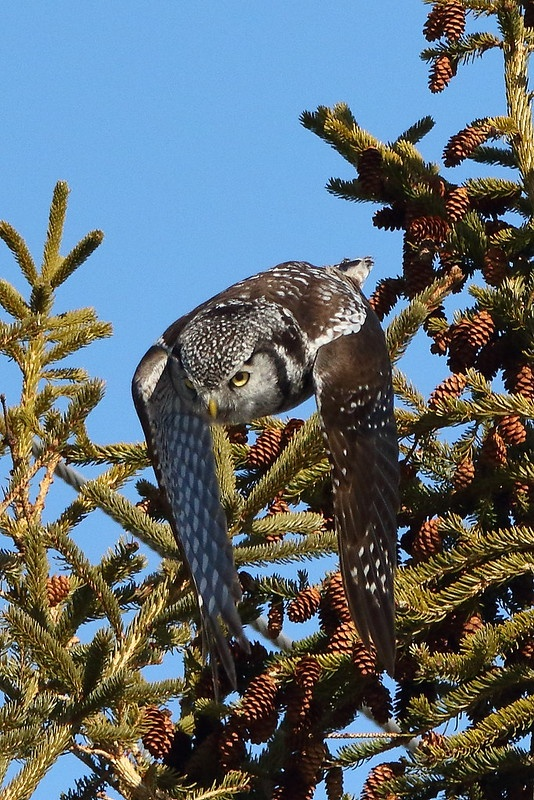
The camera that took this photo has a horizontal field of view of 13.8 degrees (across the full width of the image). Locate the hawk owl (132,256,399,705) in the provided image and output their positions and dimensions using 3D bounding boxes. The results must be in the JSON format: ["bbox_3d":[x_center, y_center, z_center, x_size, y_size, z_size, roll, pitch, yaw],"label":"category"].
[{"bbox_3d":[0.085,0.135,8.671,1.358,1.470,0.603,6,-5,16],"label":"hawk owl"}]
